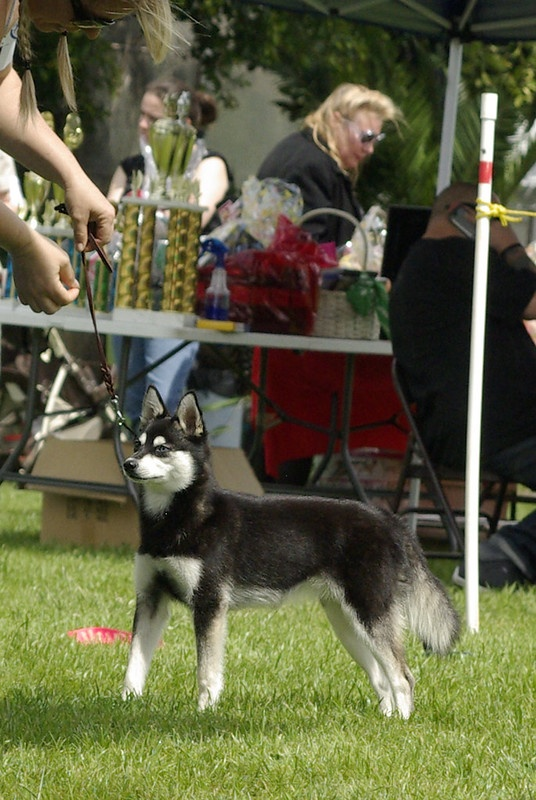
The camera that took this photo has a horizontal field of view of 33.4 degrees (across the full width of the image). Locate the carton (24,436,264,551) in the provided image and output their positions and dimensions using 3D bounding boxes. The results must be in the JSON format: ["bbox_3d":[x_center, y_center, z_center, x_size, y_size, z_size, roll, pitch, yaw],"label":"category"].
[{"bbox_3d":[-0.949,0.548,5.153,0.989,0.550,0.703,3,-3,11],"label":"carton"}]

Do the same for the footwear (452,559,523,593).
[{"bbox_3d":[1.005,0.794,4.090,0.292,0.130,0.135,0,1,-5],"label":"footwear"}]

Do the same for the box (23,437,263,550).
[{"bbox_3d":[-0.940,0.503,5.178,0.989,0.552,0.703,3,-4,13],"label":"box"}]

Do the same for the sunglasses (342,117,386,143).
[{"bbox_3d":[0.555,-1.538,5.165,0.136,0.058,0.172,7,28,-33],"label":"sunglasses"}]
